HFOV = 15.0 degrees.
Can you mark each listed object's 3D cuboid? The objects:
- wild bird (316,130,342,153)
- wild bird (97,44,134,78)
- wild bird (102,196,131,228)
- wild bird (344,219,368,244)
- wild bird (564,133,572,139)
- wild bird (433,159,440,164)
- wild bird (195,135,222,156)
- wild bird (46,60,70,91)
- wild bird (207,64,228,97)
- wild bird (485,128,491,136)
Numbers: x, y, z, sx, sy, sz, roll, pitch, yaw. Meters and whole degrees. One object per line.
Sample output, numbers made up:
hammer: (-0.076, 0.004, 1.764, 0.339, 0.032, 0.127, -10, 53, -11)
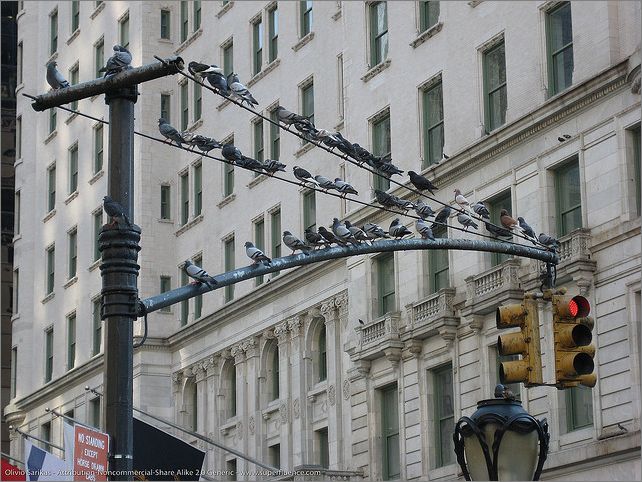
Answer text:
wild bird: (0.120, -3.310, 80.454, 0.544, 0.378, 1.207, 17, -1, -28)
wild bird: (-6.679, -5.814, 77.918, 1.172, 1.117, 0.683, -3, -16, -31)
wild bird: (-6.651, -0.952, 76.656, 0.987, 1.134, 0.664, 16, -35, -36)
wild bird: (1.010, -0.269, 79.923, 0.378, 0.654, 1.036, 18, -9, -43)
wild bird: (9.741, -4.130, 95.989, 0.260, 0.145, 0.068, 12, 9, 43)
wild bird: (4.784, -3.286, 101.361, 0.176, 0.156, 0.470, 8, 4, -3)
wild bird: (-3.739, -3.202, 79.334, 0.399, 0.691, 1.221, -16, 8, -31)
wild bird: (-8.579, -5.268, 78.060, 0.647, 1.237, 0.504, -7, -27, 2)
wild bird: (-3.359, -5.230, 78.744, 0.496, 0.848, 1.355, -9, 22, -39)
wild bird: (6.766, -4.425, 99.226, 0.139, 0.245, 0.096, -10, -21, 34)
